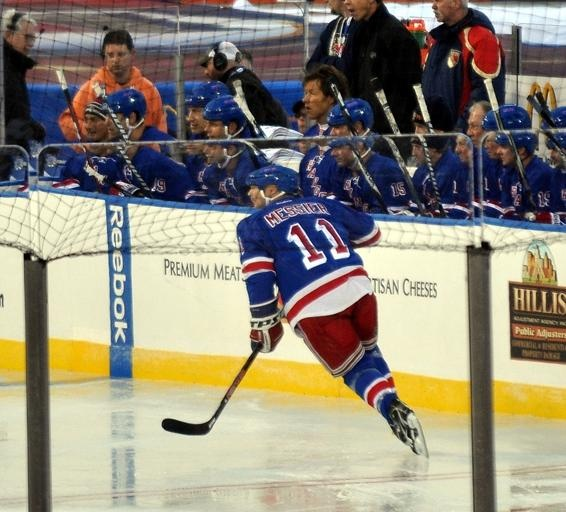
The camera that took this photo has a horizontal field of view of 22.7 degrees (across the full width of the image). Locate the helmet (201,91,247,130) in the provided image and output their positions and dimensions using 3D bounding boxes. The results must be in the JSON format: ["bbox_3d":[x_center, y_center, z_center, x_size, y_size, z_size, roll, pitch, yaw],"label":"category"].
[{"bbox_3d":[-0.293,-0.735,7.200,0.190,0.153,0.142,-27,24,-6],"label":"helmet"}]

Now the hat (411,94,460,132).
[{"bbox_3d":[0.803,-0.735,7.243,0.146,0.184,0.453,4,15,27],"label":"hat"}]

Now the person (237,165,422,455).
[{"bbox_3d":[0.202,0.214,6.217,0.764,1.339,0.429,-4,14,-3],"label":"person"}]

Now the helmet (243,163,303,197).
[{"bbox_3d":[-0.027,-0.317,5.952,0.174,0.094,0.124,-13,15,-9],"label":"helmet"}]

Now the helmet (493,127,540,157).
[{"bbox_3d":[0.971,-0.472,5.809,0.167,0.134,0.263,-2,14,3],"label":"helmet"}]

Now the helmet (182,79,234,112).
[{"bbox_3d":[-0.415,-0.848,7.354,0.190,0.172,0.143,2,20,3],"label":"helmet"}]

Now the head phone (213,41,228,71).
[{"bbox_3d":[-0.347,-1.115,7.878,0.059,0.136,0.146,-9,5,-8],"label":"head phone"}]

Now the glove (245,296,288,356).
[{"bbox_3d":[-0.074,0.310,6.323,0.107,0.126,0.291,4,44,9],"label":"glove"}]

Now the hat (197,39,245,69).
[{"bbox_3d":[-0.341,-1.136,7.938,0.205,0.114,0.145,4,8,15],"label":"hat"}]

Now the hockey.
[{"bbox_3d":[-0.274,0.593,7.179,0.081,0.146,0.795,27,58,22],"label":"hockey"}]

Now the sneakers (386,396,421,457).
[{"bbox_3d":[0.528,0.737,6.208,0.089,0.269,0.115,-15,16,45],"label":"sneakers"}]

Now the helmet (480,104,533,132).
[{"bbox_3d":[1.096,-0.673,6.929,0.202,0.153,0.151,9,1,19],"label":"helmet"}]

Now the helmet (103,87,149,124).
[{"bbox_3d":[-0.807,-0.775,7.306,0.221,0.182,0.110,-7,14,-17],"label":"helmet"}]

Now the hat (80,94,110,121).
[{"bbox_3d":[-0.946,-0.752,7.214,0.104,0.099,0.121,-8,14,-20],"label":"hat"}]
